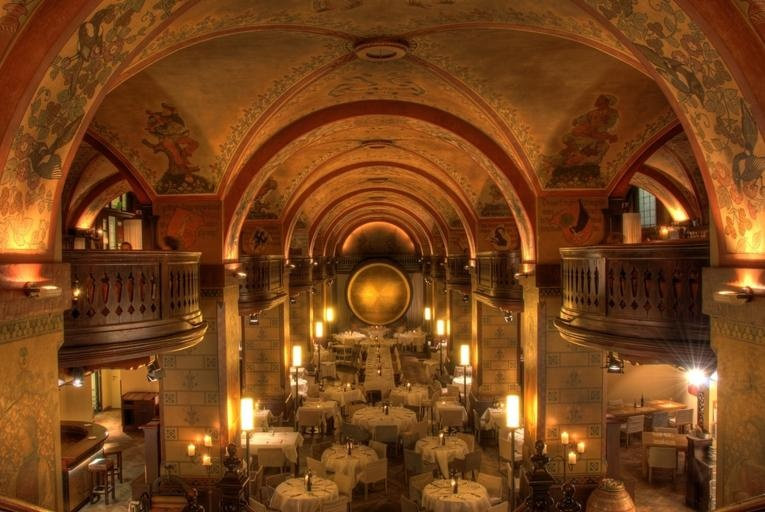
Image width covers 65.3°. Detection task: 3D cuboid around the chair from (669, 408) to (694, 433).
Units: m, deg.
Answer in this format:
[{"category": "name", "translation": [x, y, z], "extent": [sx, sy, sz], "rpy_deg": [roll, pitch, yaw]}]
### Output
[{"category": "chair", "translation": [9.013, 4.983, 17.995], "extent": [0.693, 0.759, 1.708], "rpy_deg": [-7, -13, 23]}]

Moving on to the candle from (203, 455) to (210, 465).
[{"category": "candle", "translation": [-3.888, 4.546, 13.238], "extent": [0.166, 0.250, 0.339], "rpy_deg": [2, -13, -16]}]

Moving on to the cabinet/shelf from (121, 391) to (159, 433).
[{"category": "cabinet/shelf", "translation": [-7.948, 5.121, 19.664], "extent": [1.099, 1.115, 0.641], "rpy_deg": [-1, -3, -2]}]

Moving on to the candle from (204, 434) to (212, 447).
[{"category": "candle", "translation": [-3.880, 4.139, 13.320], "extent": [0.255, 0.263, 0.242], "rpy_deg": [1, -3, -13]}]

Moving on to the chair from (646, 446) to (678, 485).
[{"category": "chair", "translation": [7.319, 5.435, 15.748], "extent": [0.737, 0.947, 2.069], "rpy_deg": [-6, -13, 21]}]

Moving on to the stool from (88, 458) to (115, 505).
[{"category": "stool", "translation": [-6.981, 5.599, 14.878], "extent": [0.672, 1.028, 0.919], "rpy_deg": [4, -14, -24]}]

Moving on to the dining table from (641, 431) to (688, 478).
[{"category": "dining table", "translation": [7.224, 5.276, 15.577], "extent": [1.068, 0.654, 1.421], "rpy_deg": [1, -11, 15]}]

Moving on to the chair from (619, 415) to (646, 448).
[{"category": "chair", "translation": [7.579, 5.289, 18.124], "extent": [0.757, 0.985, 2.013], "rpy_deg": [-6, -13, 20]}]

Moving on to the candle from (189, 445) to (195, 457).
[{"category": "candle", "translation": [-4.244, 4.346, 13.289], "extent": [0.180, 0.274, 0.370], "rpy_deg": [2, -13, -17]}]

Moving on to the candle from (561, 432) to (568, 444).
[{"category": "candle", "translation": [4.124, 4.154, 13.564], "extent": [0.162, 0.292, 0.405], "rpy_deg": [-5, -13, 16]}]
